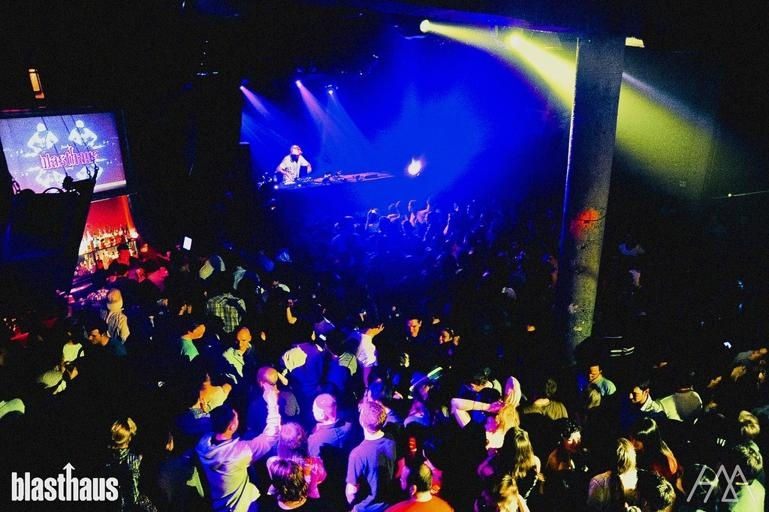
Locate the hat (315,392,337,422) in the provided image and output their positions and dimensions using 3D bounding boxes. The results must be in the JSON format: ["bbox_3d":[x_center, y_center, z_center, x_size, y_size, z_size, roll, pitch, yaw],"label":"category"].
[{"bbox_3d":[-0.650,1.659,6.339,0.259,0.317,0.180,2,-9,-5],"label":"hat"}]

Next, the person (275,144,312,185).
[{"bbox_3d":[-2.309,-2.245,14.436,0.662,0.977,0.878,22,30,20],"label":"person"}]
